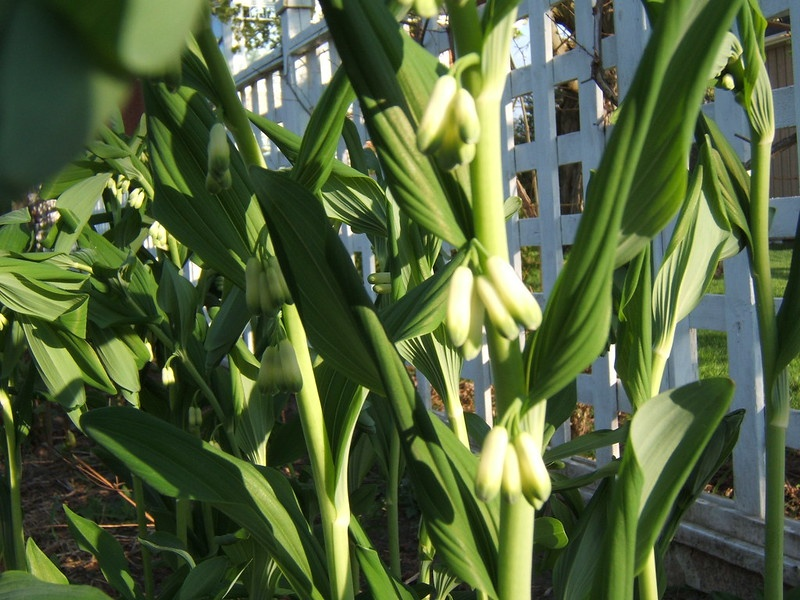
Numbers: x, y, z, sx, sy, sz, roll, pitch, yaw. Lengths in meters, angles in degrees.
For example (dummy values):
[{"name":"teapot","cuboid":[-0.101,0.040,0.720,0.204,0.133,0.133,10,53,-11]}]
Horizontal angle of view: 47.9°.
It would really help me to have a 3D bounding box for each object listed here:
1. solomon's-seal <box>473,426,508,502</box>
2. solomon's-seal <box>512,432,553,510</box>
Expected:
[{"name":"solomon's-seal","cuboid":[0.139,0.253,1.381,0.033,0.133,0.037,4,-13,22]},{"name":"solomon's-seal","cuboid":[0.210,0.268,1.431,0.057,0.068,0.158,3,25,-2]}]
